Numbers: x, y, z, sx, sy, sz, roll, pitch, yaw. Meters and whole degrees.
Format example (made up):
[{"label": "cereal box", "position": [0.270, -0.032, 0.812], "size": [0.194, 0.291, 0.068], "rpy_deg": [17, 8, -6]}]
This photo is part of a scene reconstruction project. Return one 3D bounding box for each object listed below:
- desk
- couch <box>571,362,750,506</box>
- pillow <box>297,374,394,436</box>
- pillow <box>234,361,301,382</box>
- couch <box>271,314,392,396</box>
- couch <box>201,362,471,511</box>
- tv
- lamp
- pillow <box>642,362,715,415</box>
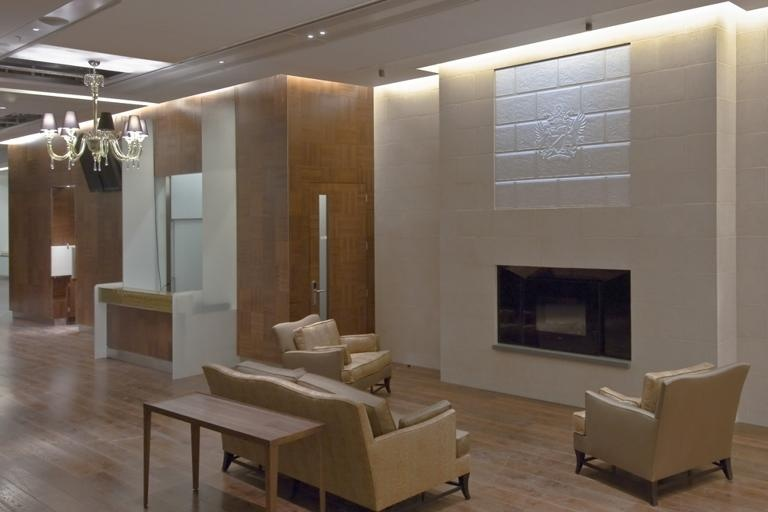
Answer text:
[{"label": "desk", "position": [-1.408, 1.922, 5.255], "size": [1.720, 0.995, 0.709], "rpy_deg": [2, 6, 27]}, {"label": "couch", "position": [2.862, 1.717, 5.660], "size": [1.638, 1.263, 0.692], "rpy_deg": [-1, 6, -4]}, {"label": "pillow", "position": [-0.431, 1.434, 5.286], "size": [1.019, 0.379, 0.315], "rpy_deg": [9, 20, 37]}, {"label": "pillow", "position": [-1.204, 1.177, 5.725], "size": [0.532, 0.161, 0.305], "rpy_deg": [5, 2, 21]}, {"label": "couch", "position": [-0.775, 1.320, 7.968], "size": [1.364, 1.102, 1.274], "rpy_deg": [-1, -2, 32]}, {"label": "couch", "position": [-0.161, 1.353, 5.450], "size": [2.052, 1.191, 1.487], "rpy_deg": [1, 4, 39]}, {"label": "tv", "position": [2.524, 0.825, 7.629], "size": [1.486, 0.899, 0.025], "rpy_deg": [0, 1, 41]}, {"label": "lamp", "position": [-4.875, -2.410, 9.354], "size": [1.578, 1.655, 1.549], "rpy_deg": [-4, -6, 40]}, {"label": "pillow", "position": [2.829, 1.248, 5.493], "size": [0.562, 0.547, 0.167], "rpy_deg": [1, 7, -26]}]
